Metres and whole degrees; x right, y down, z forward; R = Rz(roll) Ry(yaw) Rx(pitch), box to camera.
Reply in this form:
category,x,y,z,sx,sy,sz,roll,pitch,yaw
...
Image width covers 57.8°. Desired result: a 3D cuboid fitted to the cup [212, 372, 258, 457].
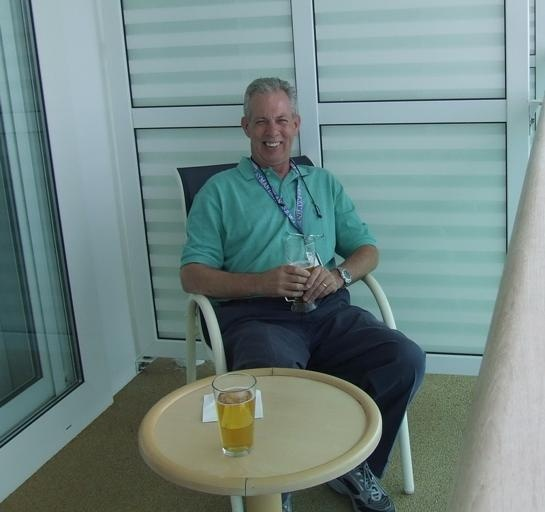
category,x,y,z,sx,sy,sz,roll,pitch,yaw
cup,-0.072,0.309,0.957,0.083,0.147,0.089,-4,11,1

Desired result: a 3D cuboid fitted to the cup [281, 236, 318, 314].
category,x,y,z,sx,sy,sz,roll,pitch,yaw
cup,0.102,0.065,1.694,0.125,0.301,0.174,-4,11,1
